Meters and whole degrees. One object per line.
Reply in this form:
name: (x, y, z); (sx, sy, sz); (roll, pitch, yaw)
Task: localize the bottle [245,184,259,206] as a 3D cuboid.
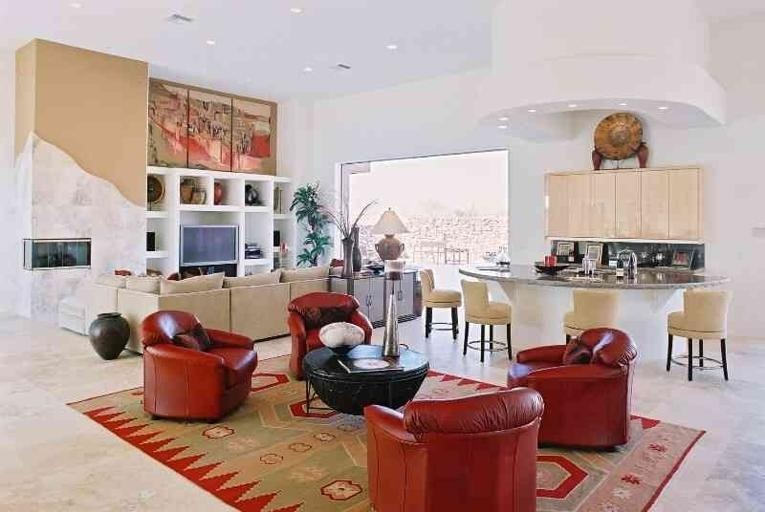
bottle: (-2.903, -1.401, 12.408); (0.353, 0.428, 0.470); (-2, -1, -27)

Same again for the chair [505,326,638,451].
chair: (1.847, 1.280, 5.668); (1.293, 1.020, 1.222); (0, -1, 12)

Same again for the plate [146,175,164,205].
plate: (-4.631, -1.369, 11.082); (0.306, 0.569, 0.142); (1, -1, -13)

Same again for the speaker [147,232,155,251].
speaker: (-4.715, -0.304, 11.047); (0.118, 0.377, 0.230); (-1, -2, 45)

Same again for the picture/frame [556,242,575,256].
picture/frame: (3.334, -0.139, 9.877); (0.292, 0.247, 0.069); (6, -2, 27)

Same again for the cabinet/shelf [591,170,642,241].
cabinet/shelf: (4.020, -0.897, 9.333); (0.748, 1.164, 0.202); (0, -1, 21)

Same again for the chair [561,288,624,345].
chair: (2.690, 0.764, 7.055); (0.665, 0.749, 0.659); (2, 7, 7)

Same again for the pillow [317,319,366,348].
pillow: (-0.474, 0.839, 5.970); (0.347, 0.174, 0.347); (-2, -4, 35)

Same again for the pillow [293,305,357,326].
pillow: (-0.782, 0.783, 7.056); (0.524, 0.076, 0.297); (-1, 22, -13)

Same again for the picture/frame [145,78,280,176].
picture/frame: (-3.812, -2.854, 11.783); (2.360, 1.234, 0.033); (-2, 4, -43)

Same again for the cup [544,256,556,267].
cup: (2.507, 0.079, 8.124); (0.135, 0.152, 0.087); (15, 13, 11)

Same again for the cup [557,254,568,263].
cup: (3.272, 0.056, 9.866); (0.237, 0.154, 0.129); (-2, -4, 37)

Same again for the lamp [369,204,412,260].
lamp: (0.188, -0.267, 6.621); (0.677, 0.847, 0.664); (0, -3, 5)

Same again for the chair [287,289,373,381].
chair: (-0.656, 1.042, 7.258); (1.275, 1.045, 1.068); (0, -5, -21)

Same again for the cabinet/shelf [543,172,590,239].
cabinet/shelf: (3.335, -0.920, 9.741); (0.754, 1.142, 0.272); (0, -1, 17)
